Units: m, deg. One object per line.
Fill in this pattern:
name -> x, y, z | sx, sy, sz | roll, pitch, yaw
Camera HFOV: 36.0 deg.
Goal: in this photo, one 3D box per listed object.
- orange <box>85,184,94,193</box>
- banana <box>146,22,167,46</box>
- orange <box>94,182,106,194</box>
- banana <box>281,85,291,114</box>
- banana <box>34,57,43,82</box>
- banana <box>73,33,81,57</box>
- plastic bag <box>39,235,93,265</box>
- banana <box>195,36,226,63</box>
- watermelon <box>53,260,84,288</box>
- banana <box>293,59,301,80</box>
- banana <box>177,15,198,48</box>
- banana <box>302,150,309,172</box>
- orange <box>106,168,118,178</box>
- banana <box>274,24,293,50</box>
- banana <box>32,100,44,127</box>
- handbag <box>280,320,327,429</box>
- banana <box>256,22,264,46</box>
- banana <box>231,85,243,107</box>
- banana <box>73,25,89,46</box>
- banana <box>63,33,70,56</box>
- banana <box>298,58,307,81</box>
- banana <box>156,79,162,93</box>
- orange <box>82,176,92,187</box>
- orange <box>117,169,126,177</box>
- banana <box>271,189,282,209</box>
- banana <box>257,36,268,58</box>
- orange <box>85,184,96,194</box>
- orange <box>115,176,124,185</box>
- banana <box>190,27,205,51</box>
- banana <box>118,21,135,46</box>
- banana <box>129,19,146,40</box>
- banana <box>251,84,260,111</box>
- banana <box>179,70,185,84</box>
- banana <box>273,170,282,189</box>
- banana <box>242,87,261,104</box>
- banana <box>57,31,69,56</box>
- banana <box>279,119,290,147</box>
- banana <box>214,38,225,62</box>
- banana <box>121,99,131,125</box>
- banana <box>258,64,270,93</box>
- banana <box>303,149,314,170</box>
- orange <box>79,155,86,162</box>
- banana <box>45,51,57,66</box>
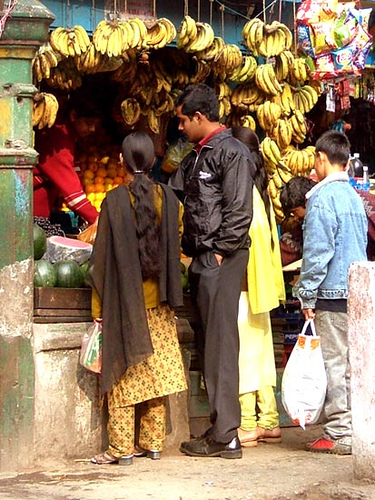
orange -> -0.950, -0.599, 5.608 | 0.072, 0.072, 0.082 | 34, 8, -4
banana -> -0.223, -1.625, 4.452 | 0.051, 0.143, 0.169 | 42, -43, -21
orange -> -0.855, -0.602, 5.647 | 0.112, 0.125, 0.112 | 1, 5, 8
banana -> 0.888, -1.368, 5.289 | 0.085, 0.229, 0.054 | 9, -18, -31
banana -> -1.068, -1.292, 4.156 | 0.040, 0.131, 0.037 | -11, 9, -33
banana -> -0.795, -1.475, 4.186 | 0.042, 0.153, 0.051 | -9, -11, -5
plastic bag -> -0.802, -0.003, 3.851 | 0.269, 0.095, 0.265 | 9, 7, 13
banana -> 0.222, -1.615, 4.744 | 0.195, 0.205, 0.082 | 2, 1, 43
watermelon -> -0.734, 0.143, 3.555 | 0.159, 0.177, 0.187 | -2, -5, 19
banana -> 0.990, -1.630, 5.246 | 0.058, 0.161, 0.044 | -14, 15, -18
banana -> -0.010, -1.665, 4.442 | 0.069, 0.201, 0.159 | 7, 13, -28
banana -> 1.096, -0.825, 5.354 | 0.038, 0.129, 0.103 | -1, 0, 20
orange -> -0.751, -0.766, 5.820 | 0.087, 0.101, 0.090 | -15, -18, -10
banana -> 0.889, -1.915, 5.188 | 0.071, 0.243, 0.195 | -8, 24, 14
banana -> -1.084, -0.988, 4.187 | 0.069, 0.150, 0.100 | 3, -6, -31
handbag -> 0.711, 0.681, 3.339 | 0.352, 0.664, 0.349 | -3, 3, 12
banana -> 0.602, -1.773, 4.829 | 0.045, 0.215, 0.058 | -5, 5, -38
banana -> 0.455, -1.417, 5.316 | 0.082, 0.203, 0.107 | -3, -6, 28
banana -> -0.780, -1.552, 4.256 | 0.088, 0.159, 0.043 | -32, 14, -8
banana -> -0.870, -1.465, 4.141 | 0.031, 0.150, 0.052 | -6, -11, 32
banana -> 1.049, -1.638, 5.278 | 0.056, 0.204, 0.068 | -21, 7, -18
banana -> -0.250, -1.432, 5.057 | 0.045, 0.120, 0.105 | 0, -5, -7
orange -> -0.982, -0.669, 5.689 | 0.094, 0.108, 0.093 | 0, -16, -12
orange -> -0.668, -0.769, 5.818 | 0.077, 0.075, 0.088 | 2, 2, 1
banana -> 0.803, -0.475, 5.273 | 0.146, 0.184, 0.050 | 5, -20, -45
banana -> 0.651, -1.731, 5.027 | 0.053, 0.219, 0.080 | -1, -3, -12
orange -> -0.944, -0.595, 5.611 | 0.089, 0.089, 0.104 | 1, -39, -1
orange -> -0.684, -0.692, 5.748 | 0.065, 0.073, 0.064 | -7, 10, -44
banana -> 0.080, -1.648, 4.560 | 0.117, 0.157, 0.041 | -15, -29, 37
banana -> -0.433, -1.598, 4.324 | 0.054, 0.167, 0.137 | -7, 1, 26
banana -> -0.376, -1.651, 4.372 | 0.110, 0.135, 0.044 | -24, 8, -34
banana -> 0.608, -1.401, 5.327 | 0.053, 0.255, 0.091 | -4, -6, -26
banana -> -0.065, -1.556, 5.270 | 0.075, 0.140, 0.041 | 3, -38, -8
banana -> 0.830, -0.644, 5.309 | 0.048, 0.172, 0.062 | -2, -11, 2
banana -> 0.599, -1.395, 5.315 | 0.119, 0.146, 0.053 | 3, -4, 13
banana -> -0.891, -1.477, 4.126 | 0.036, 0.132, 0.105 | 4, -3, 13
banana -> 0.869, -1.058, 5.287 | 0.063, 0.271, 0.088 | -9, -5, -26
banana -> 0.261, -1.626, 4.733 | 0.047, 0.158, 0.124 | 6, 2, -7
banana -> -0.540, -1.204, 5.079 | 0.086, 0.194, 0.340 | 0, -5, -6
banana -> 0.642, -1.464, 5.020 | 0.051, 0.172, 0.143 | -7, -5, 5
banana -> 1.149, -0.851, 5.404 | 0.049, 0.146, 0.155 | -4, -19, 7
orange -> -1.045, -0.908, 5.769 | 0.059, 0.054, 0.058 | 1, 1, 3
banana -> -0.970, -1.358, 4.112 | 0.022, 0.070, 0.070 | -28, 18, -23
